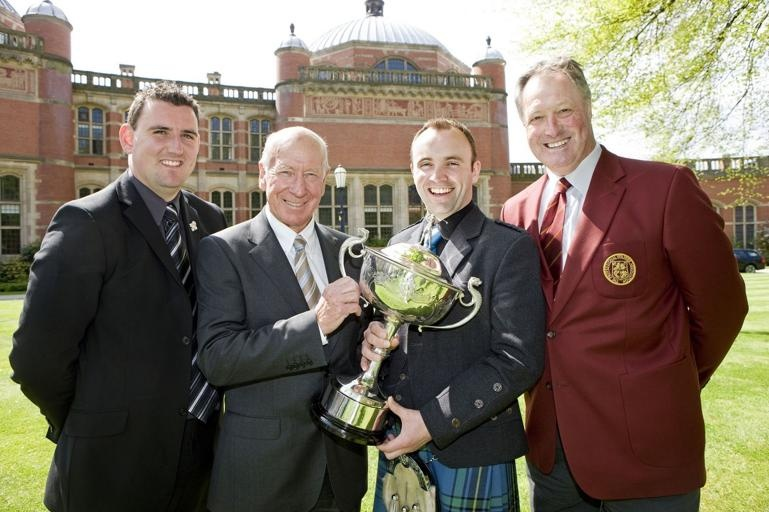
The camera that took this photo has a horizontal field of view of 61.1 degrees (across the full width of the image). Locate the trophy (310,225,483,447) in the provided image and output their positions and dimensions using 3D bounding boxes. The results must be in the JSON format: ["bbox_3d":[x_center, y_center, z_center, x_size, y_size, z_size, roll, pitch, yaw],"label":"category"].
[{"bbox_3d":[0.117,0.648,4.793,1.078,1.354,0.687,31,1,12],"label":"trophy"}]

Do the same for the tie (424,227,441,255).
[{"bbox_3d":[0.386,-0.121,5.052,0.112,0.214,0.060,4,5,12],"label":"tie"}]
